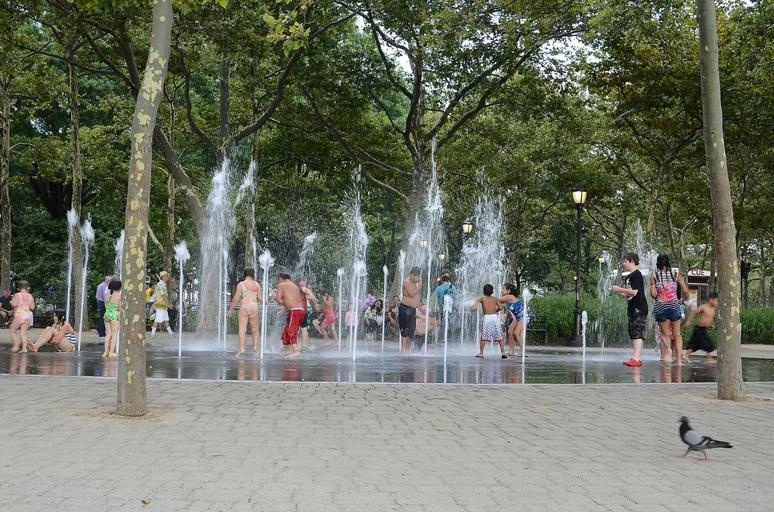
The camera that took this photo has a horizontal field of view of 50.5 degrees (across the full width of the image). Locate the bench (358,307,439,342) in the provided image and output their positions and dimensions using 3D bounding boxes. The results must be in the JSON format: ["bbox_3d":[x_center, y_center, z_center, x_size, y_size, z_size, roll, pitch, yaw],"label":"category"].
[{"bbox_3d":[0.298,2.447,28.326,1.763,1.239,3.069,-6,7,19],"label":"bench"}]

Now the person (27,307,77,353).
[{"bbox_3d":[-9.110,2.024,22.447,1.246,1.136,0.559,7,-2,-43],"label":"person"}]

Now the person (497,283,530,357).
[{"bbox_3d":[3.615,1.861,24.129,1.217,2.100,0.767,1,-5,10],"label":"person"}]

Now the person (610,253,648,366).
[{"bbox_3d":[6.226,1.136,20.528,1.068,3.419,1.047,0,-1,0],"label":"person"}]

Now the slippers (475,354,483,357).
[{"bbox_3d":[2.668,2.864,23.905,0.161,0.130,0.335,0,-8,4],"label":"slippers"}]

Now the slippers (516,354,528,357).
[{"bbox_3d":[3.986,2.931,24.420,0.252,0.165,0.658,-1,-9,2],"label":"slippers"}]

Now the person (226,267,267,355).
[{"bbox_3d":[-3.755,1.511,22.196,0.981,2.371,0.764,3,-10,-24],"label":"person"}]

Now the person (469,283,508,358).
[{"bbox_3d":[2.842,1.795,23.230,0.960,2.078,0.812,0,-4,-4],"label":"person"}]
